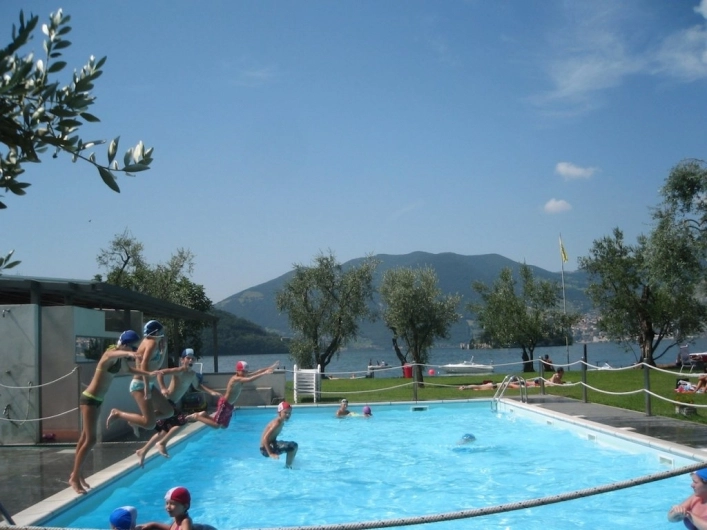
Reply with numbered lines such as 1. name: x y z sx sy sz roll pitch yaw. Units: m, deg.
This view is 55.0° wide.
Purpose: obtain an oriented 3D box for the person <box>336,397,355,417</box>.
1. person: -0.269 5.174 24.347 0.475 0.941 0.851 -10 -10 37

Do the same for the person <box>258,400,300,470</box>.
1. person: -2.025 4.594 18.464 0.935 1.699 0.769 -6 -10 29

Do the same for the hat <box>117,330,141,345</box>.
1. hat: -5.032 1.616 15.340 0.387 0.365 0.582 0 10 -3

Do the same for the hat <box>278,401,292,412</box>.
1. hat: -1.847 3.825 18.276 0.263 0.254 0.421 -2 -9 3
